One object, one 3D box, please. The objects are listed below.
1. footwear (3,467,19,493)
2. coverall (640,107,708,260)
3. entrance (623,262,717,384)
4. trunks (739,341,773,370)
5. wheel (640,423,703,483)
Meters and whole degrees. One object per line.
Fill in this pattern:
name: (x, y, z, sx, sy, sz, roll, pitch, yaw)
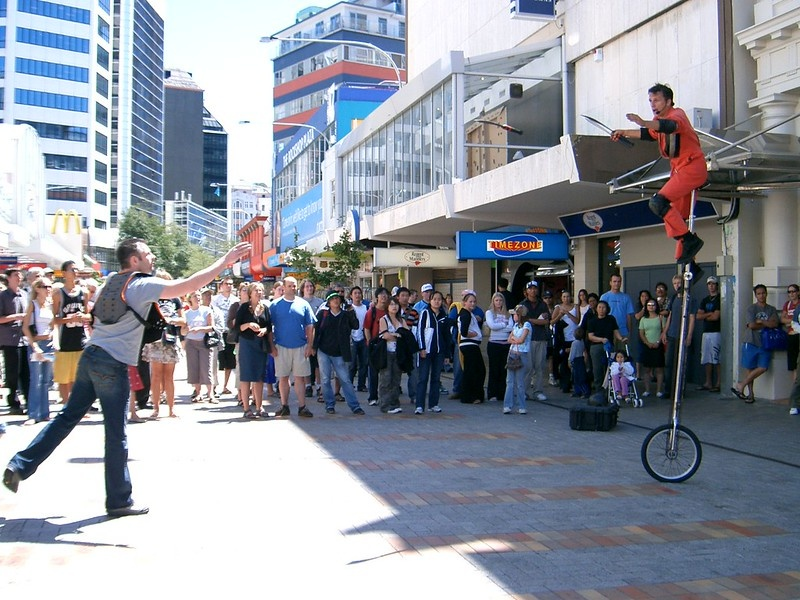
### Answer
footwear: (-3.628, 1.687, 7.864, 0.151, 0.217, 0.056, -31, -25, 31)
coverall: (3.015, -1.279, 9.242, 0.787, 1.674, 0.368, -1, 5, -17)
entrance: (4.838, 0.465, 14.964, 0.169, 2.439, 2.370, 0, 2, -19)
trunks: (6.056, 0.980, 14.436, 0.642, 0.648, 0.383, 2, 0, 8)
wheel: (3.124, 1.795, 9.709, 0.587, 0.613, 0.215, -5, -8, 35)
